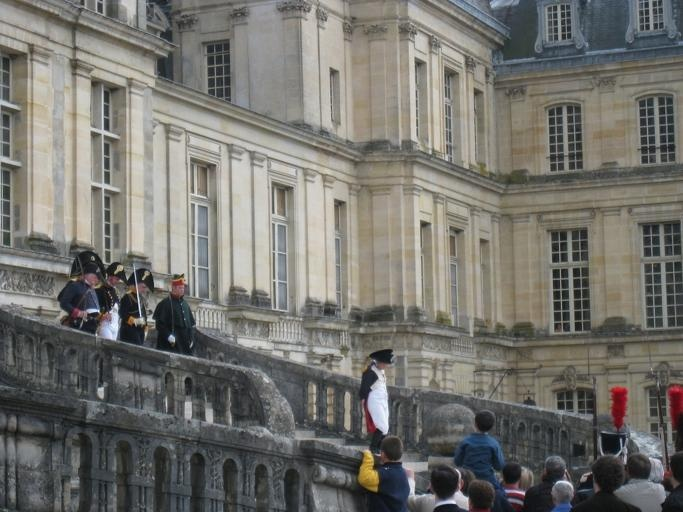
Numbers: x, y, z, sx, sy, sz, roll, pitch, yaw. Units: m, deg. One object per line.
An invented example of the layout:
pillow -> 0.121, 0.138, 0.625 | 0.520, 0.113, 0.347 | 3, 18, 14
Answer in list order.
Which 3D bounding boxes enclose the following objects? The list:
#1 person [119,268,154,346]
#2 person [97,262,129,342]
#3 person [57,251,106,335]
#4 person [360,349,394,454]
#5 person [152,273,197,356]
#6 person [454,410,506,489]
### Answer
person -> -3.865, 0.940, 46.330 | 0.423, 1.478, 0.500 | -8, -8, 40
person -> -4.260, 0.954, 45.682 | 0.687, 1.740, 0.781 | 1, 5, -2
person -> -4.747, 0.643, 45.186 | 0.672, 1.635, 0.706 | -5, -4, 27
person -> 0.684, 2.580, 45.369 | 0.682, 1.865, 0.630 | 1, 6, 20
person -> -3.063, 1.252, 46.174 | 0.611, 1.750, 0.951 | -5, -7, 44
person -> 2.332, 3.194, 41.227 | 0.569, 1.381, 0.633 | -2, -6, 42
